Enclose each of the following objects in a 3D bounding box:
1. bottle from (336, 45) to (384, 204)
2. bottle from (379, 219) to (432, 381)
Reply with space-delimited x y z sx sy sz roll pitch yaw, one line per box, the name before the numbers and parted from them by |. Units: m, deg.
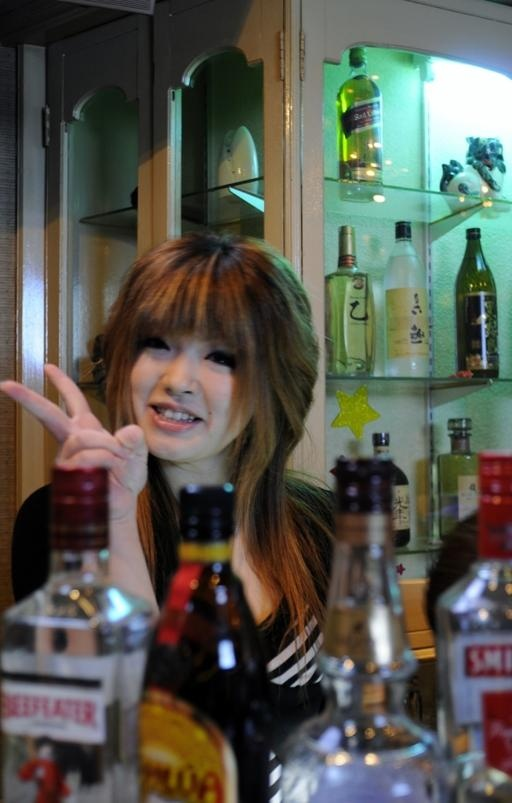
bottle | 0.218 -0.572 1.442 0.063 0.302 0.135 -7 -4 42
bottle | 0.318 -0.220 1.496 0.100 0.342 0.041 -4 -3 2
